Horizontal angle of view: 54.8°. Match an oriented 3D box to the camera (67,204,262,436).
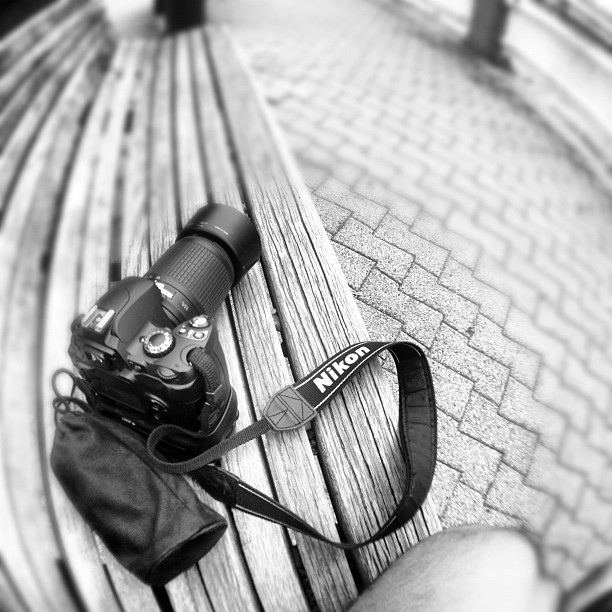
[{"bbox_3d":[-0.295,0.023,1.528,0.434,0.338,0.583,22,56,19],"label":"camera"}]
